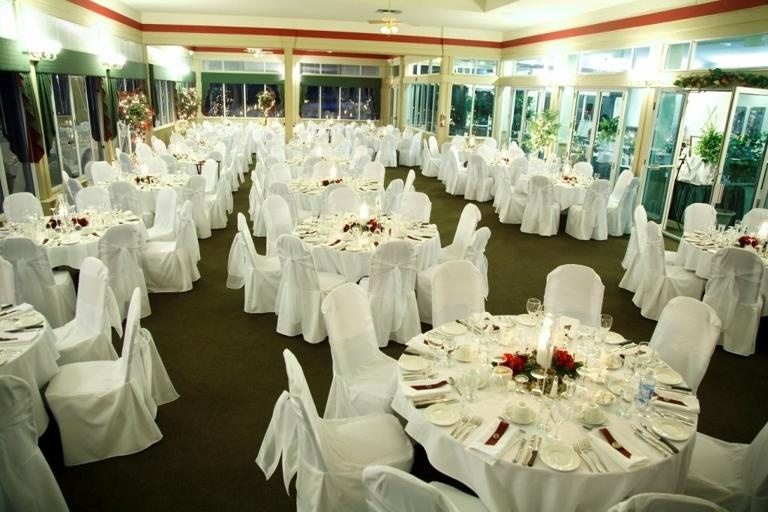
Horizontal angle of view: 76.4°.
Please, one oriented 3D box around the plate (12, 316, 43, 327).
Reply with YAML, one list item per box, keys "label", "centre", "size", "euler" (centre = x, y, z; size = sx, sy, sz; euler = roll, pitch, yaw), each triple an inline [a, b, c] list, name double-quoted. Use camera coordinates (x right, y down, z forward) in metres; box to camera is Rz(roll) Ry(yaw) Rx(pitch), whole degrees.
- label: "plate"
  centre: [-3.415, 0.649, 4.695]
  size: [0.247, 0.067, 0.234]
  euler: [-6, 17, -26]
